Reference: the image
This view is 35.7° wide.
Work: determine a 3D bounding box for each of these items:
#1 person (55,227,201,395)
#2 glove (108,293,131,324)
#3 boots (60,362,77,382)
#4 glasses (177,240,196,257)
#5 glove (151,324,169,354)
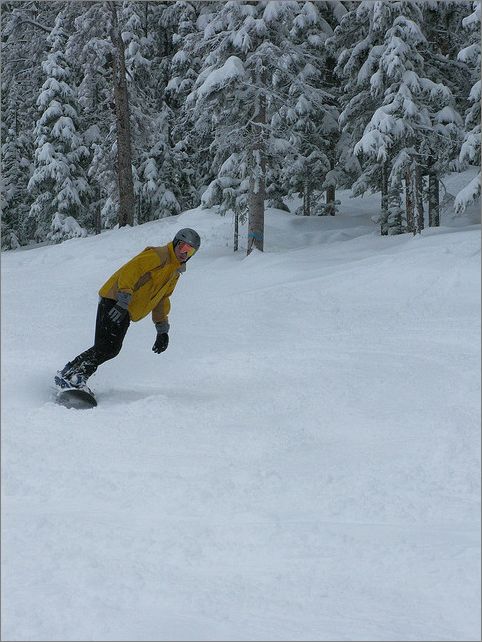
[{"bbox_3d":[-0.955,-0.129,6.056,1.195,1.258,0.943,-6,15,-29],"label":"person"},{"bbox_3d":[-0.947,-0.113,5.857,0.175,0.271,0.259,-1,14,-11],"label":"glove"},{"bbox_3d":[-1.351,0.380,5.872,0.091,0.047,0.154,16,45,28],"label":"boots"},{"bbox_3d":[-0.433,-0.571,5.982,0.119,0.074,0.097,48,21,22],"label":"glasses"},{"bbox_3d":[-0.733,0.154,6.836,0.185,0.262,0.090,4,-1,-19],"label":"glove"}]
